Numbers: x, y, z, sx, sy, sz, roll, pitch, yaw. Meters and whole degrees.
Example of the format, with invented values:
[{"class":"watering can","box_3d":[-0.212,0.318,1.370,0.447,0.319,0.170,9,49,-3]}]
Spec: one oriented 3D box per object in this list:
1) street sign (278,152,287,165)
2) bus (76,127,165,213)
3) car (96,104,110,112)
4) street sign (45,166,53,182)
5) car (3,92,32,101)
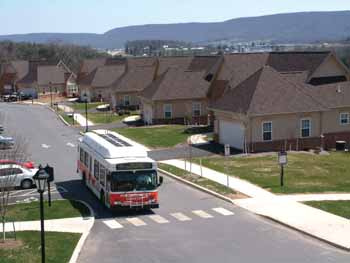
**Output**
[{"class":"street sign","box_3d":[8.058,2.019,51.509,0.926,1.159,0.228,-4,15,-19]},{"class":"bus","box_3d":[-4.705,2.689,51.500,3.434,4.392,11.722,-2,9,-21]},{"class":"car","box_3d":[-10.975,-3.615,102.176,2.066,0.662,1.496,2,4,36]},{"class":"street sign","box_3d":[-8.829,2.968,47.160,0.483,1.146,0.841,0,14,6]},{"class":"car","box_3d":[-29.641,-6.324,126.608,3.715,1.343,1.899,-4,8,-13]}]
